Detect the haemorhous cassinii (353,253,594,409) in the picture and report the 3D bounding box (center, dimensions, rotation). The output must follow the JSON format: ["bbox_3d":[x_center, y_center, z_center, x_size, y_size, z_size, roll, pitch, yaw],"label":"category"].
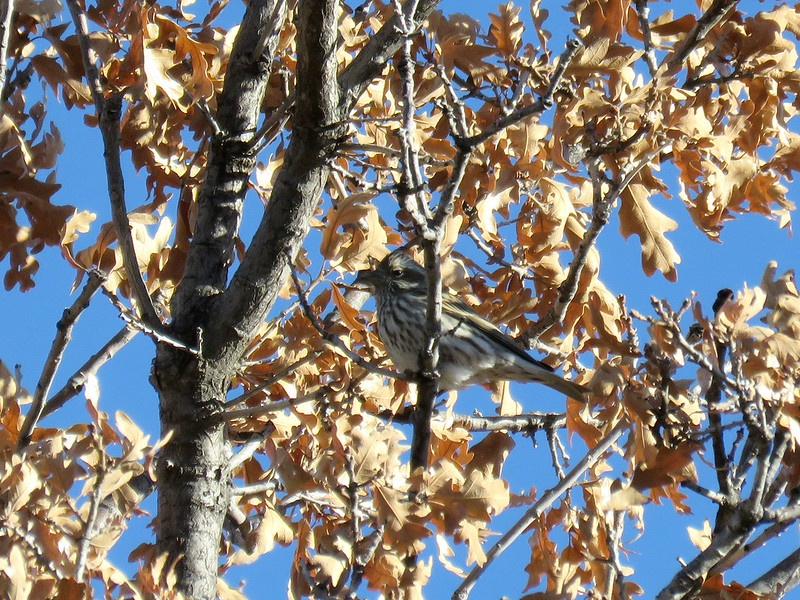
[{"bbox_3d":[0.475,0.280,10.716,1.561,1.019,0.580,11,-38,-1],"label":"haemorhous cassinii"}]
